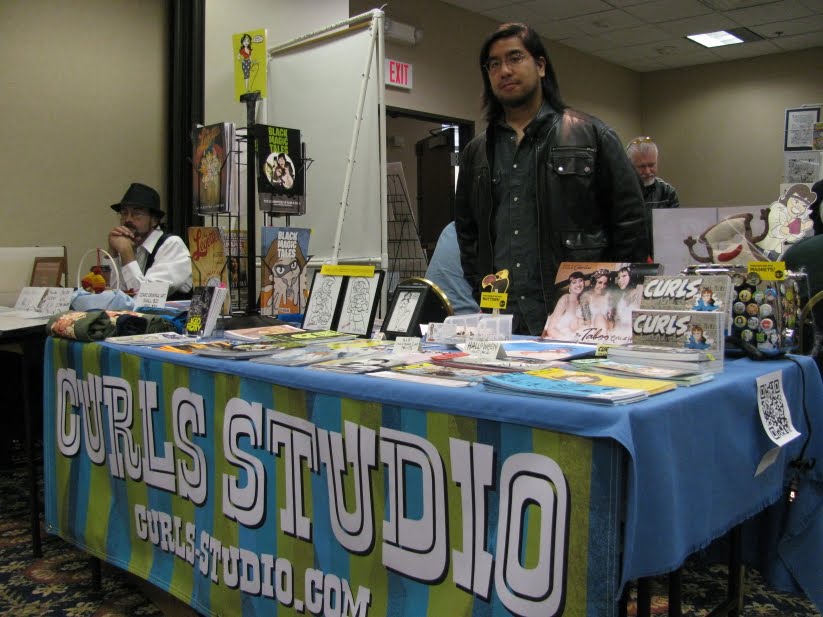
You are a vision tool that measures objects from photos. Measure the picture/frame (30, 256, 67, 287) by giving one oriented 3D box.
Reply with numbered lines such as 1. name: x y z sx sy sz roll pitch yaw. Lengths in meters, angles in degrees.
1. picture/frame: -1.962 -0.200 3.685 0.177 0.152 0.179 -2 7 -32

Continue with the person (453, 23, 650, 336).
1. person: 0.504 -0.467 2.559 0.732 1.121 0.341 3 5 14

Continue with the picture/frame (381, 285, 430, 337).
1. picture/frame: -0.018 0.011 2.190 0.115 0.162 0.088 8 -24 41

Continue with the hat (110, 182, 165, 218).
1. hat: -1.557 -0.622 4.030 0.206 0.140 0.305 14 -9 8
